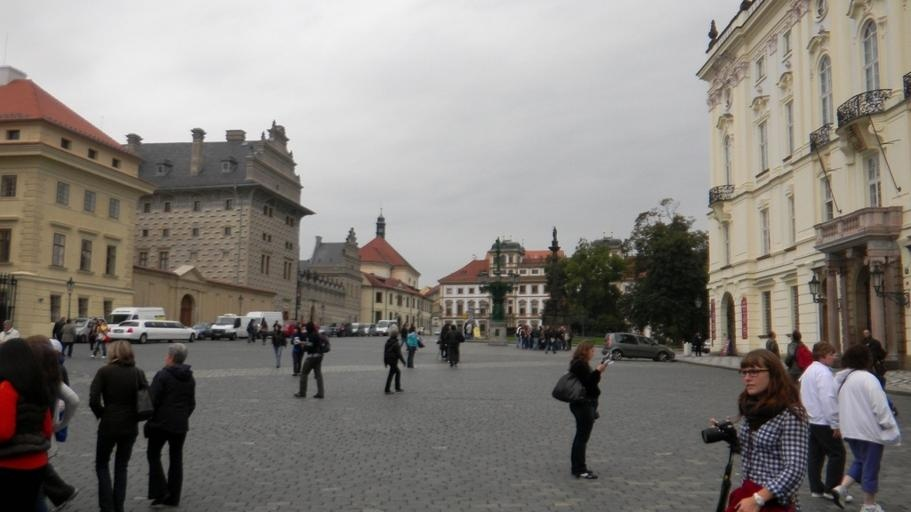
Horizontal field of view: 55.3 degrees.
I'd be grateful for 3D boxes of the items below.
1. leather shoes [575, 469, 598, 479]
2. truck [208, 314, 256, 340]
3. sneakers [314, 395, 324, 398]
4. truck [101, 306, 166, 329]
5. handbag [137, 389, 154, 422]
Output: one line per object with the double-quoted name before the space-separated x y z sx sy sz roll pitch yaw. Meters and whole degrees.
"leather shoes" 4.134 6.877 27.650 0.560 0.170 0.291 -2 1 -7
"truck" -18.073 5.700 70.653 2.004 1.313 3.226 -2 -9 8
"sneakers" -5.542 5.612 35.314 0.319 0.115 0.522 1 1 -22
"truck" -21.951 4.024 60.553 1.719 1.147 2.529 -3 -6 40
"handbag" -9.290 4.441 26.051 0.535 0.936 0.997 -2 -5 -8
